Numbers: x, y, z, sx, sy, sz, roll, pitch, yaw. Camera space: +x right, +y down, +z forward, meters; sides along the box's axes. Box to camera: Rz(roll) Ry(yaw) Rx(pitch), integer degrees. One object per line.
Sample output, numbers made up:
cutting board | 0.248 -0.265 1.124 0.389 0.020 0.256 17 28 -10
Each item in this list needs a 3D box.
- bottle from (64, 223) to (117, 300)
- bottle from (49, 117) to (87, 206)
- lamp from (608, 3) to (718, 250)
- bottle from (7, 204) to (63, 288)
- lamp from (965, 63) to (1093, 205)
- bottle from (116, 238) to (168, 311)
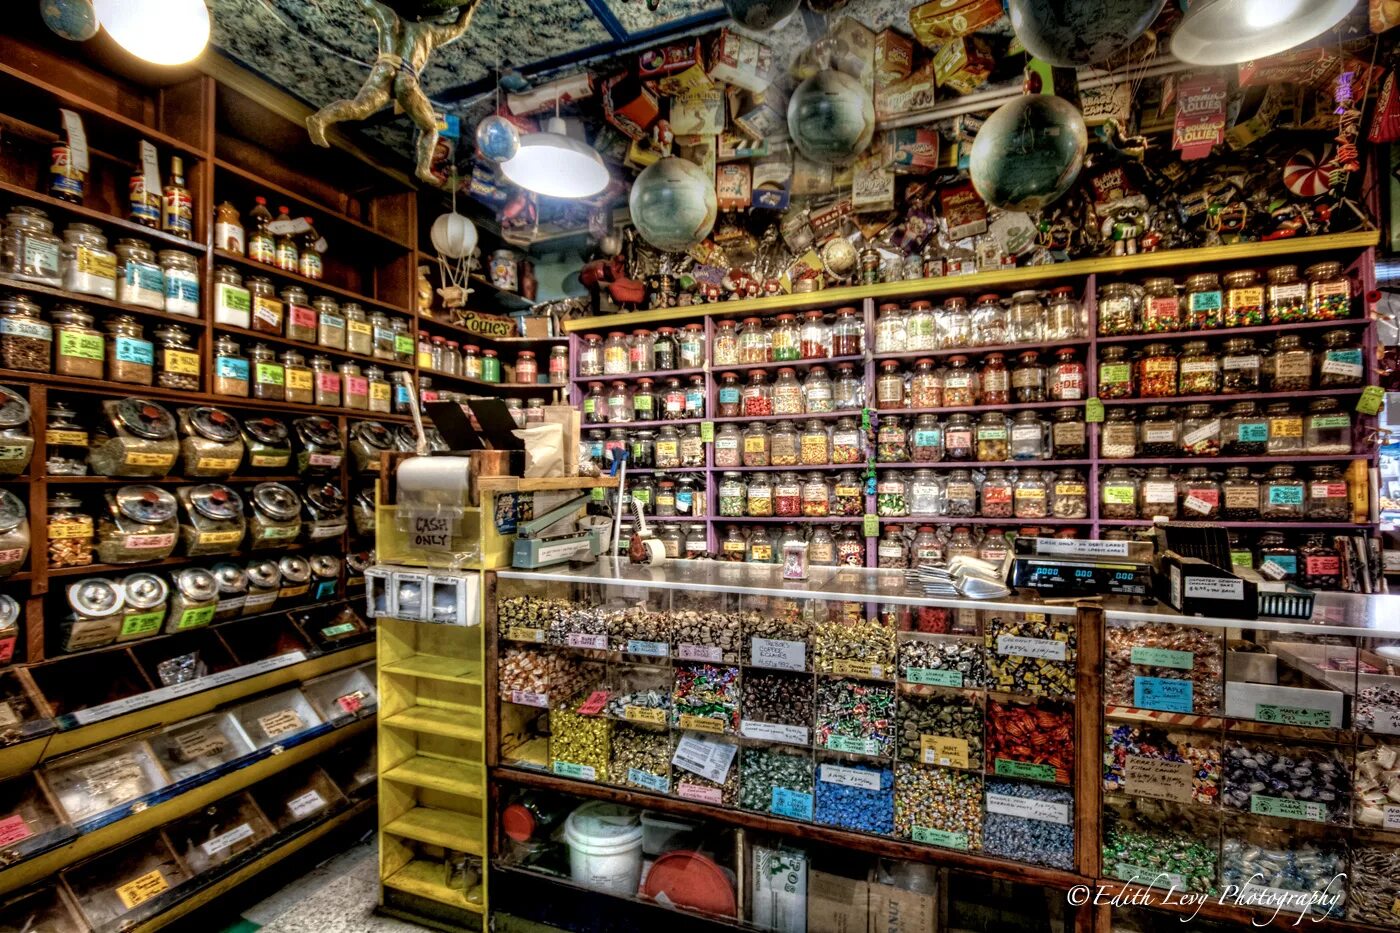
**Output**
bottle | -3.078 -1.043 4.877 0.229 0.387 0.072 1 -5 -38
bottle | -3.225 -1.573 4.928 0.160 0.466 0.158 -2 -3 0
lamp | -0.142 -1.439 5.211 0.437 0.453 0.241 -2 -3 -1
bottle | -3.269 -1.086 4.731 0.241 0.387 0.083 0 -4 -30
lamp | 1.657 -1.643 4.864 0.758 0.692 0.462 7 6 10
bottle | -2.889 -0.999 4.993 0.218 0.366 0.091 0 -4 -28
